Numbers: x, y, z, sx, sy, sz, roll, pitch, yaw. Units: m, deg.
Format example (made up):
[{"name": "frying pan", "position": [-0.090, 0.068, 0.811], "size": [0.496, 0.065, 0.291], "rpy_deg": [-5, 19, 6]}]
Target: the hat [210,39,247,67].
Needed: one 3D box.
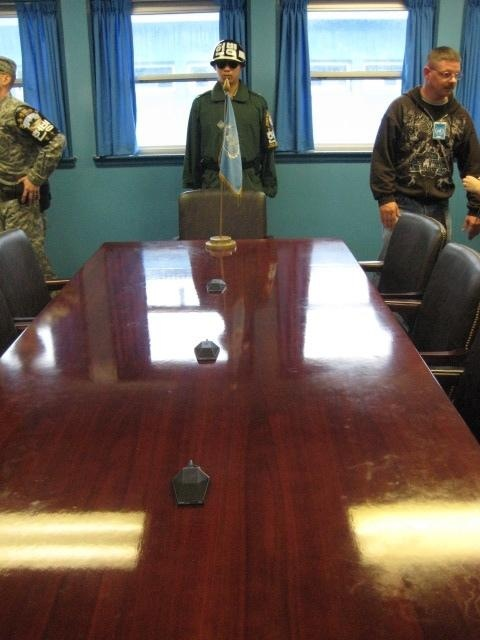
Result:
[{"name": "hat", "position": [-0.080, -1.795, 3.391], "size": [0.222, 0.150, 0.212], "rpy_deg": [-3, 26, -3]}]

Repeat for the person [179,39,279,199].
[{"name": "person", "position": [-0.067, -1.427, 3.663], "size": [0.631, 1.202, 0.338], "rpy_deg": [1, 43, 1]}]

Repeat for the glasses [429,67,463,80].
[{"name": "glasses", "position": [1.127, -1.318, 2.723], "size": [0.177, 0.064, 0.094], "rpy_deg": [-15, 29, -26]}]
